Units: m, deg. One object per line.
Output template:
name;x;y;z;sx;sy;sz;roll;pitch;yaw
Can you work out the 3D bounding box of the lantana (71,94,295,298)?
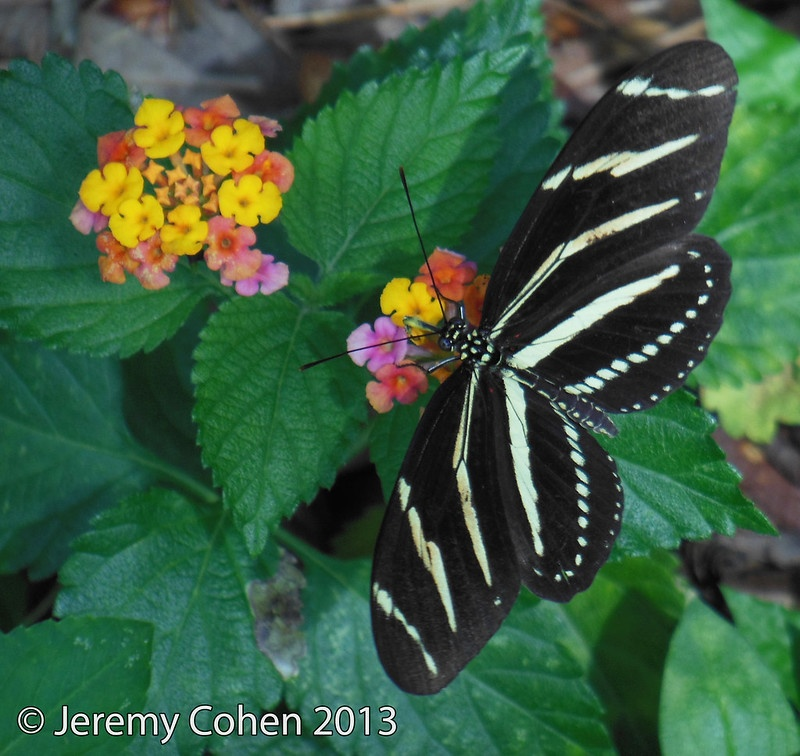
lantana;-0.452;-0.363;2.016;0.480;0.298;0.381;-9;62;-6
